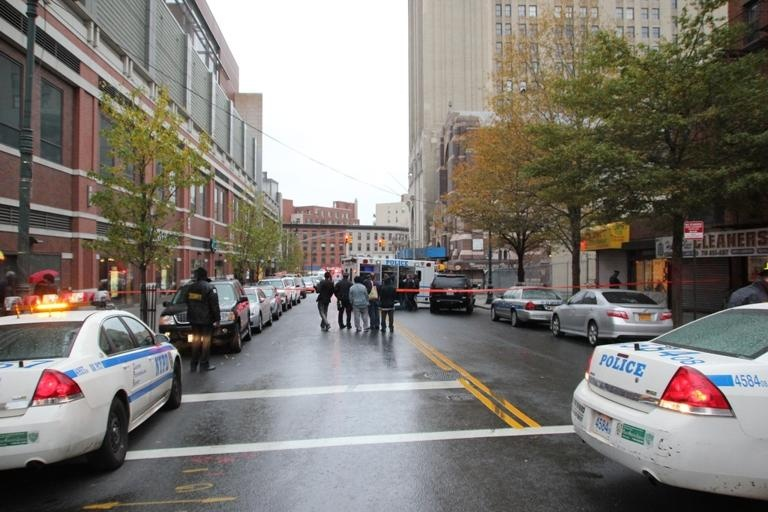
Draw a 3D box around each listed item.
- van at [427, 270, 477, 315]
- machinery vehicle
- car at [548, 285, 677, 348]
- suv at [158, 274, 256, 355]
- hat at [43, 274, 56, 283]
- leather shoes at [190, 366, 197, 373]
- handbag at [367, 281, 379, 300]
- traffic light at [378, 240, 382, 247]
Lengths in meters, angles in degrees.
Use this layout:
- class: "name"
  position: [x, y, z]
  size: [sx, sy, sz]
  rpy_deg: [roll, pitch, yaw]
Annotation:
- class: "van"
  position: [3.439, 1.904, 30.403]
  size: [2.051, 1.977, 4.460]
  rpy_deg: [0, 0, 8]
- class: "machinery vehicle"
  position: [0.890, 1.488, 33.974]
  size: [4.607, 2.615, 3.078]
  rpy_deg: [0, -1, -16]
- class: "car"
  position: [6.869, 1.785, 18.546]
  size: [1.527, 1.271, 3.743]
  rpy_deg: [1, -2, -6]
- class: "suv"
  position: [-4.983, 1.720, 17.374]
  size: [1.516, 1.516, 3.273]
  rpy_deg: [-1, -7, -2]
- class: "hat"
  position: [-9.729, 0.604, 16.937]
  size: [0.221, 0.245, 0.232]
  rpy_deg: [-2, 6, -4]
- class: "leather shoes"
  position: [-4.510, 2.624, 13.827]
  size: [0.146, 0.131, 0.303]
  rpy_deg: [-2, 4, -21]
- class: "handbag"
  position: [-0.422, 1.383, 21.371]
  size: [0.406, 1.046, 0.980]
  rpy_deg: [-3, -9, 1]
- class: "traffic light"
  position: [-0.424, -1.199, 56.942]
  size: [0.496, 0.573, 0.965]
  rpy_deg: [3, 24, 2]
